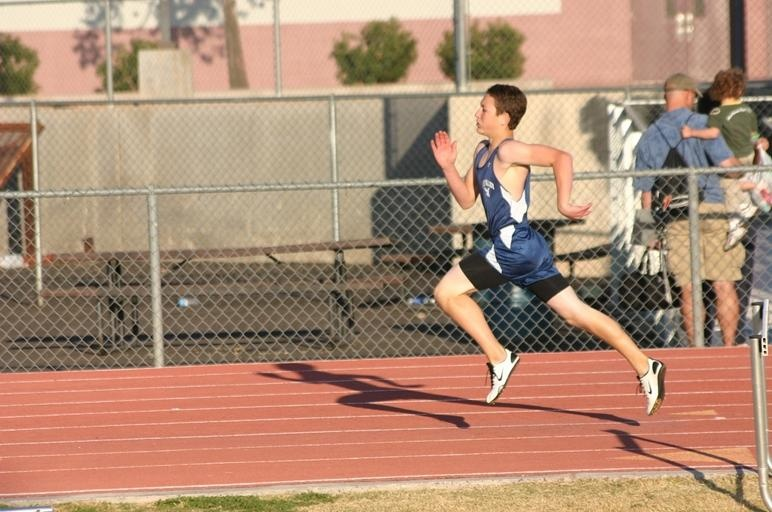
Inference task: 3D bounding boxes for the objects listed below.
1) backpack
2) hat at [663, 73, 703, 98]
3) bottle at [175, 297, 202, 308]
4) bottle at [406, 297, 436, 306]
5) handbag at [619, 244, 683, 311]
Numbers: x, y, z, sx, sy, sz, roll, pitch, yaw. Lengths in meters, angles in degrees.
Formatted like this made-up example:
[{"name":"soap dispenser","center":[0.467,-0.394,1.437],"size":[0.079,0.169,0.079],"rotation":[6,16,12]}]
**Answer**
[{"name":"backpack","center":[3.541,-0.864,16.537],"size":[0.324,0.804,0.804],"rotation":[6,-8,-19]},{"name":"hat","center":[3.749,-2.123,16.710],"size":[0.448,0.241,0.316],"rotation":[-7,13,-38]},{"name":"bottle","center":[-2.865,0.688,19.581],"size":[0.279,0.099,0.271],"rotation":[1,-5,0]},{"name":"bottle","center":[0.558,0.685,20.036],"size":[0.353,0.112,0.213],"rotation":[1,0,-19]},{"name":"handbag","center":[3.477,0.309,17.383],"size":[0.639,1.039,0.592],"rotation":[3,42,12]}]
